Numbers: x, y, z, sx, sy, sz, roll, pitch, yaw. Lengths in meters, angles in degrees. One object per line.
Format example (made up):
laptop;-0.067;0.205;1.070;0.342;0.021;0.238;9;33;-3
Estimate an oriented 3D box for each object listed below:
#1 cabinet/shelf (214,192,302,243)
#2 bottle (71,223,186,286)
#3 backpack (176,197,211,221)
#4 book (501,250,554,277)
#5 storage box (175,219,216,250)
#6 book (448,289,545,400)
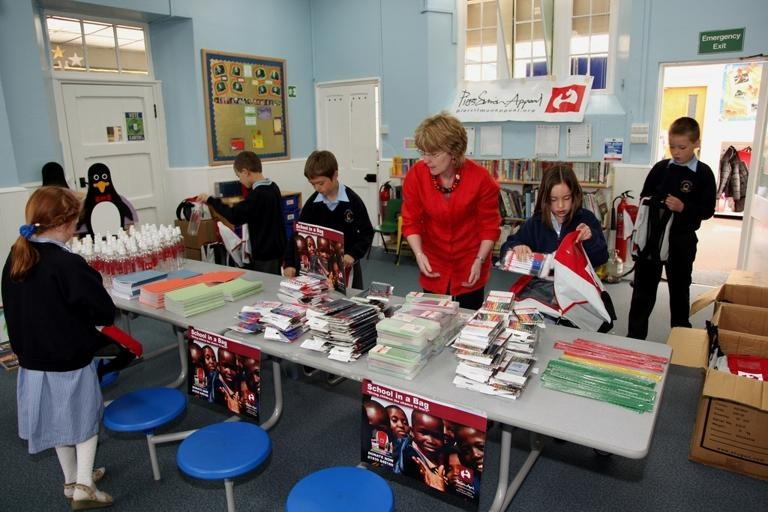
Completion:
cabinet/shelf;-1.381;-0.405;5.375;0.820;0.575;0.463;-12;15;-42
bottle;-2.163;-0.039;4.390;0.476;0.249;0.818;9;14;33
backpack;-2.115;-0.506;5.686;0.328;0.341;0.243;9;23;-21
book;0.986;0.058;3.541;0.249;0.081;0.195;7;23;30
storage box;-2.305;-0.279;6.377;0.380;0.501;0.494;-14;20;-35
book;0.706;0.495;3.055;0.426;0.187;0.559;10;31;22
